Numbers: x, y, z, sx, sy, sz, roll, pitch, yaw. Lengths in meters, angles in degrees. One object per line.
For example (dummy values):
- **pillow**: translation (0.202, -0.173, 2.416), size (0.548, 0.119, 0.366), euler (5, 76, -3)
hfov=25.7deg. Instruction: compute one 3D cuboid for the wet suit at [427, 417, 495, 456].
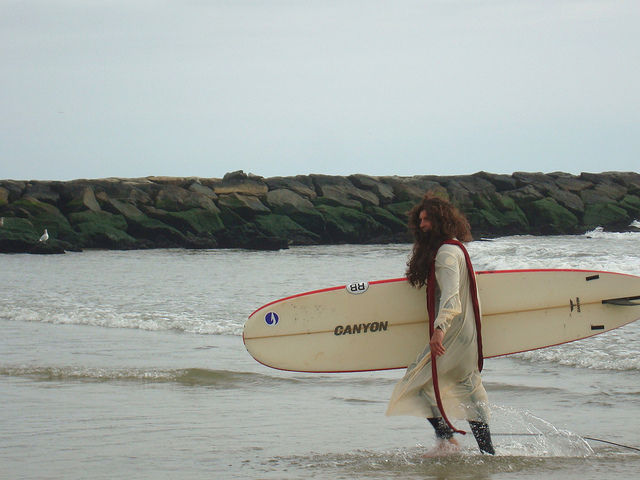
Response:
- **wet suit**: translation (3.006, 4.070, 29.576), size (1.016, 0.305, 1.005), euler (1, 0, 18)
